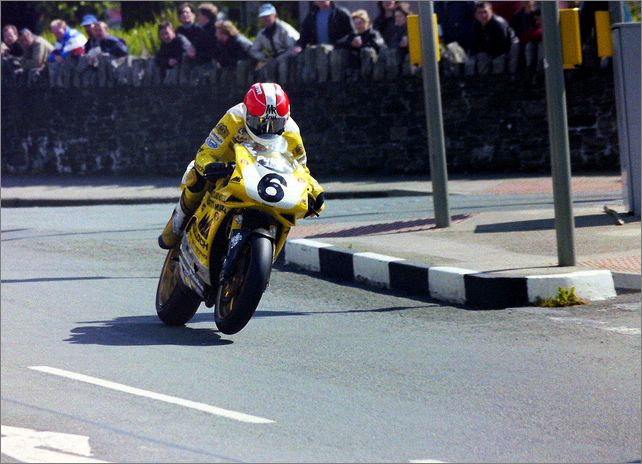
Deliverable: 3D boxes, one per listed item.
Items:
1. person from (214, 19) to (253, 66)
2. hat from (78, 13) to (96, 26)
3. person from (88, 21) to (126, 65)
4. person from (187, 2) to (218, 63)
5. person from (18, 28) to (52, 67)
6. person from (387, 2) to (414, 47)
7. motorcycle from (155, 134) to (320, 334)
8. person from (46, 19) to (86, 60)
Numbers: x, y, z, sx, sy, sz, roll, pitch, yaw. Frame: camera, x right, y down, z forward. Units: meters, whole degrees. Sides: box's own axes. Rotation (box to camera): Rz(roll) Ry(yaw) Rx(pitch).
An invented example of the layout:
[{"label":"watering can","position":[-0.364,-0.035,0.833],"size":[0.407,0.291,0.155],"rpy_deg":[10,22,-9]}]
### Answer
[{"label":"person","position":[-1.684,-3.761,26.386],"size":[0.944,0.956,0.990],"rpy_deg":[2,-6,-16]},{"label":"hat","position":[-4.988,-4.509,27.724],"size":[0.319,0.207,0.414],"rpy_deg":[-24,2,6]},{"label":"person","position":[-4.485,-3.947,27.203],"size":[0.809,0.891,0.683],"rpy_deg":[-5,8,-7]},{"label":"person","position":[-2.331,-3.949,25.992],"size":[0.538,1.194,0.899],"rpy_deg":[-8,9,-22]},{"label":"person","position":[-6.095,-3.929,27.734],"size":[0.835,0.795,0.643],"rpy_deg":[-16,14,-36]},{"label":"person","position":[1.467,-3.824,24.335],"size":[0.416,0.857,1.322],"rpy_deg":[-4,8,3]},{"label":"motorcycle","position":[-0.899,0.025,13.648],"size":[1.057,1.981,1.515],"rpy_deg":[-11,11,-40]},{"label":"person","position":[-5.389,-4.033,27.483],"size":[0.826,0.897,0.927],"rpy_deg":[-5,8,-7]}]
